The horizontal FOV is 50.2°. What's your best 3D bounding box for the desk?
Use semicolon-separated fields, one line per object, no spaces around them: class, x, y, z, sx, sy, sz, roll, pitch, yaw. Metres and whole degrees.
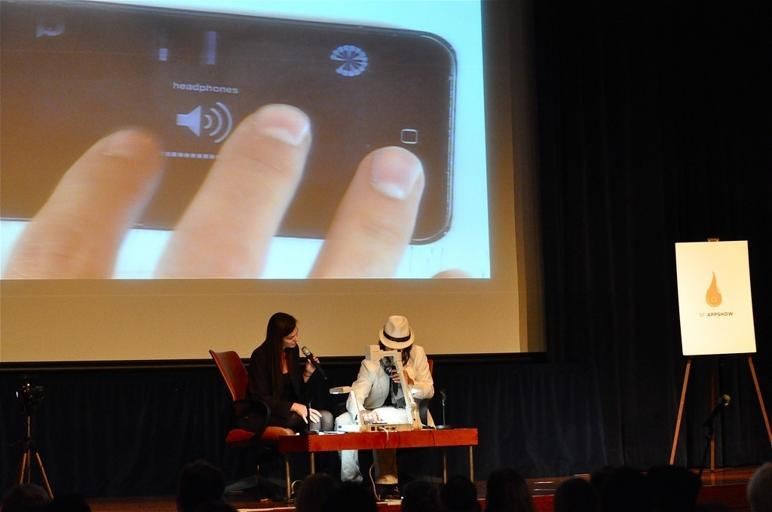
desk;-0.107;1.726;6.986;1.611;0.563;0.910;2;-8;-8

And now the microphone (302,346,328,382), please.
microphone;-0.658;1.000;7.507;0.098;0.097;0.429;-5;-53;40

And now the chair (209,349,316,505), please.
chair;-1.101;1.442;7.129;0.790;1.197;0.788;2;-3;-24
